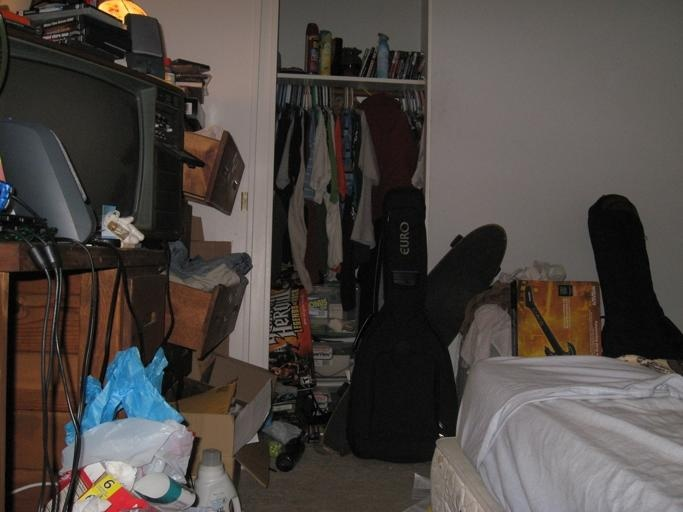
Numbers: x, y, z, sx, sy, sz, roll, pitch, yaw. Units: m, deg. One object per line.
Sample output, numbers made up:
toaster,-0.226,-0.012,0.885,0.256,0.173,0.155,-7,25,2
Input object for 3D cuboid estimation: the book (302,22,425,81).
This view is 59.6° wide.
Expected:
book,0.110,-1.193,3.667,0.920,0.432,0.300,0,6,-5

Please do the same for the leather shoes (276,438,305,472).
leather shoes,-0.238,0.915,2.763,0.070,0.036,0.129,7,20,12
